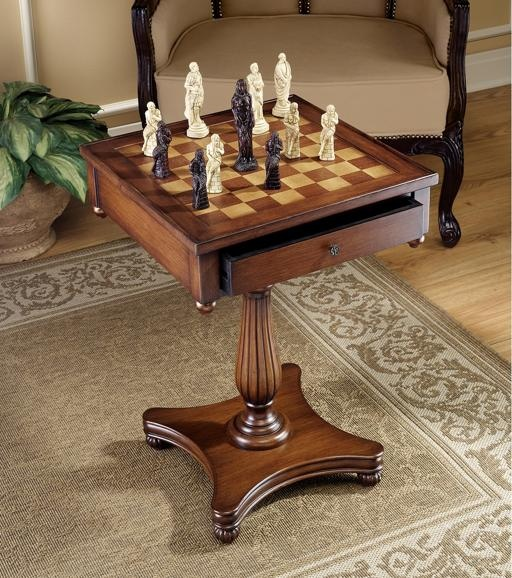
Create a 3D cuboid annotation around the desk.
[{"bbox_3d":[-0.004,-0.024,1.333,0.658,0.669,0.569,-10,43,-13],"label":"desk"}]
